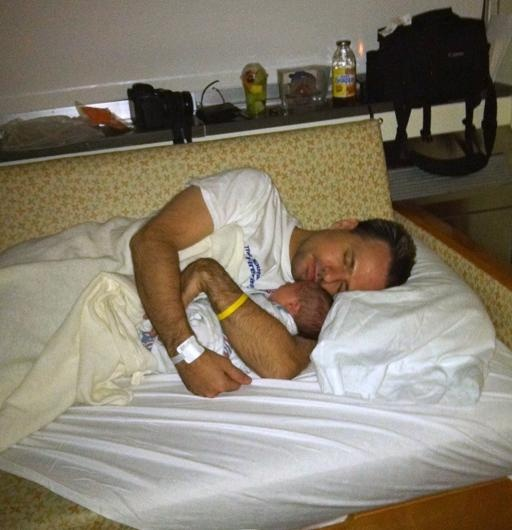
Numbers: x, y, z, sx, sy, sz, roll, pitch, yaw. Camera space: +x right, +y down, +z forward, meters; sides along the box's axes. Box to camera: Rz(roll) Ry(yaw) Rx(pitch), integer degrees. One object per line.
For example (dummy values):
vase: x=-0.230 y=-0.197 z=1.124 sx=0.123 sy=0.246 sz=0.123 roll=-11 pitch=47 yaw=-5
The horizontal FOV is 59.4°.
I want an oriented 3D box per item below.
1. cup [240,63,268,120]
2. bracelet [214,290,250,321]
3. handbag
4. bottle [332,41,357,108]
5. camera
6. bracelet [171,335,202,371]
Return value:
cup: x=0.000 y=-0.774 z=1.973 sx=0.106 sy=0.206 sz=0.253 roll=-7 pitch=24 yaw=2
bracelet: x=-0.062 y=0.108 z=1.176 sx=0.065 sy=0.015 sz=0.067 roll=-36 pitch=6 yaw=19
handbag: x=0.748 y=-0.880 z=1.920 sx=0.505 sy=0.365 sz=0.172 roll=-5 pitch=24 yaw=8
bottle: x=0.398 y=-0.875 z=2.028 sx=0.115 sy=0.250 sz=0.282 roll=-3 pitch=24 yaw=11
camera: x=-0.408 y=-0.647 z=1.876 sx=0.254 sy=0.193 sz=0.093 roll=2 pitch=8 yaw=3
bracelet: x=-0.166 y=0.214 z=1.097 sx=0.072 sy=0.056 sz=0.027 roll=-33 pitch=-6 yaw=3
